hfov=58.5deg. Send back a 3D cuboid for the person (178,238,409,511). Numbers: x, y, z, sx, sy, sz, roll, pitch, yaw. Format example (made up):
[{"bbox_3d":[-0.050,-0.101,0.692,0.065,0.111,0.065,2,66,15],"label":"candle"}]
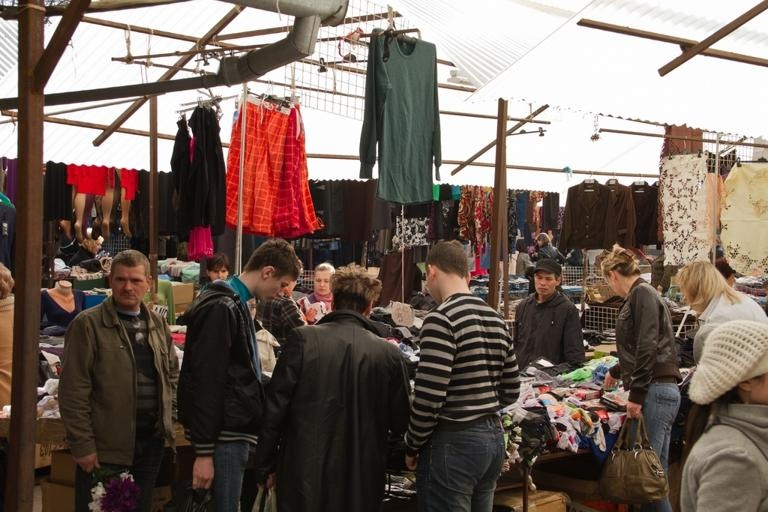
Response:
[{"bbox_3d":[-0.761,0.806,4.657,1.303,1.851,0.343,1,-2,-4],"label":"person"}]

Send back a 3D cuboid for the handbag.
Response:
[{"bbox_3d":[2.056,1.652,5.617,0.561,0.845,0.272,-16,-39,37],"label":"handbag"}]

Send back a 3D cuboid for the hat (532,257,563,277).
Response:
[{"bbox_3d":[1.670,0.105,6.986,0.232,0.183,0.614,1,-2,16],"label":"hat"}]

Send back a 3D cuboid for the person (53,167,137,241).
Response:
[{"bbox_3d":[-3.558,-0.677,8.437,0.831,0.971,0.211,1,-4,-19],"label":"person"}]

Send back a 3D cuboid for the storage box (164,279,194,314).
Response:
[{"bbox_3d":[-2.650,0.530,8.798,0.408,0.549,0.415,0,3,-28],"label":"storage box"}]

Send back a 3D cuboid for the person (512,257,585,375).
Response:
[{"bbox_3d":[1.781,0.655,7.639,0.890,1.775,0.542,-3,-5,31],"label":"person"}]
